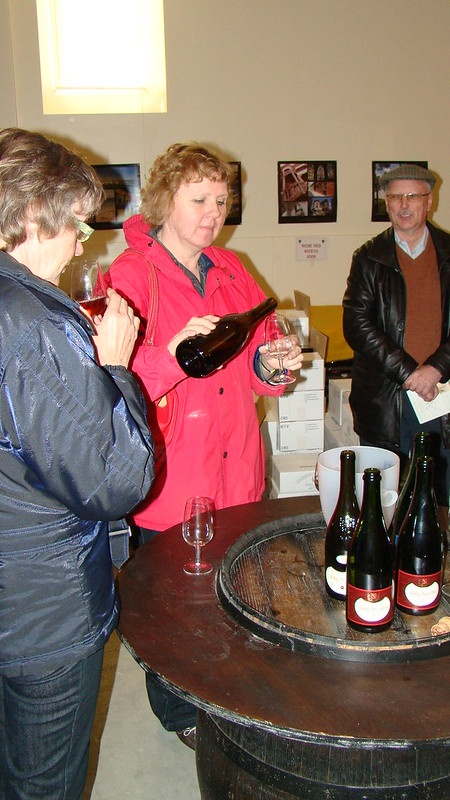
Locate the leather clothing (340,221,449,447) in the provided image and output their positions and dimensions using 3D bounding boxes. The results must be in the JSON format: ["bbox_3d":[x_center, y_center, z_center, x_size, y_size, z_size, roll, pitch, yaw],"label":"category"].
[{"bbox_3d":[0.723,-0.255,2.603,0.512,0.912,0.222,-3,4,16],"label":"leather clothing"}]

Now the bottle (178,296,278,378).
[{"bbox_3d":[0.012,-0.154,1.423,0.073,0.131,0.423,1,14,28],"label":"bottle"}]
